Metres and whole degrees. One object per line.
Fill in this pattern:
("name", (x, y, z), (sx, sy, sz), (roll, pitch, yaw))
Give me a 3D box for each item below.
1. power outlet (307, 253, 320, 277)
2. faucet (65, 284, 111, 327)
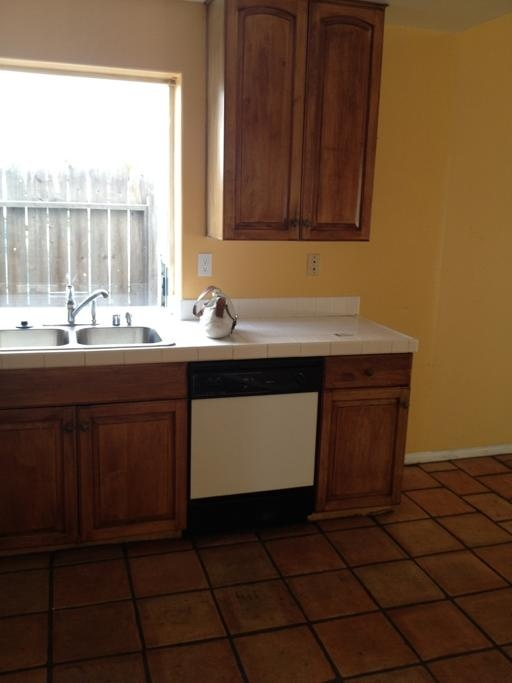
("power outlet", (0.286, -0.387, 2.658), (0.071, 0.103, 0.016), (-2, 9, -28))
("faucet", (-0.748, -0.160, 2.357), (0.160, 0.169, 0.312), (-1, 9, -19))
